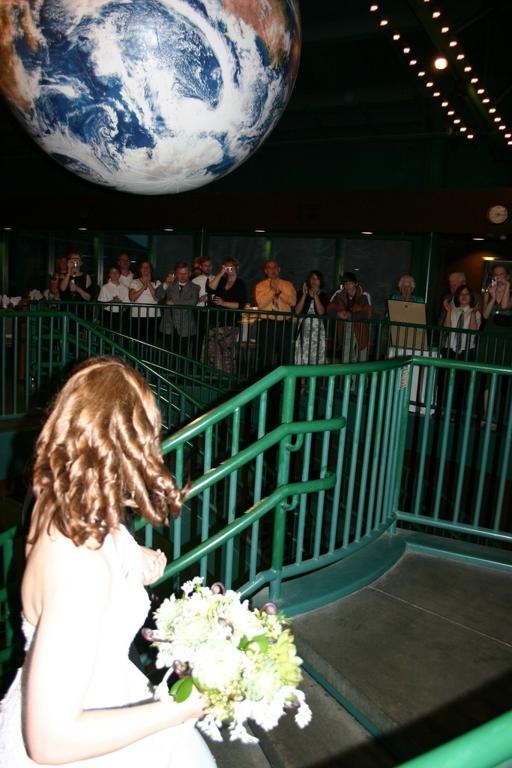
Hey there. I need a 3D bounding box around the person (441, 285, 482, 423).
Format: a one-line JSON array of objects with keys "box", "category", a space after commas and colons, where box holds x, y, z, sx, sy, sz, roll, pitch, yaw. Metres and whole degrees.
[{"box": [2.284, -0.387, 6.149, 0.446, 1.553, 1.885, 6, 7, 20], "category": "person"}]

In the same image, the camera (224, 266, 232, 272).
[{"box": [-0.379, -1.537, 7.302, 0.083, 0.047, 0.060, -4, 7, 3], "category": "camera"}]

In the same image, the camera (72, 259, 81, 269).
[{"box": [-2.874, -1.915, 8.691, 0.117, 0.160, 0.105, 18, 38, 32], "category": "camera"}]

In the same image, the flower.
[{"box": [-0.044, 0.525, 1.093, 0.292, 0.320, 0.156, -40, -10, -3], "category": "flower"}]

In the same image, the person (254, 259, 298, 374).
[{"box": [0.231, -0.874, 7.040, 0.555, 1.417, 0.940, 4, 7, 1], "category": "person"}]

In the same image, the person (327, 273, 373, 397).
[{"box": [1.129, -0.686, 6.758, 0.535, 1.429, 1.071, 5, 7, 7], "category": "person"}]

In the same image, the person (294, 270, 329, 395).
[{"box": [0.688, -0.686, 6.854, 0.415, 1.535, 1.250, 5, 7, 4], "category": "person"}]
